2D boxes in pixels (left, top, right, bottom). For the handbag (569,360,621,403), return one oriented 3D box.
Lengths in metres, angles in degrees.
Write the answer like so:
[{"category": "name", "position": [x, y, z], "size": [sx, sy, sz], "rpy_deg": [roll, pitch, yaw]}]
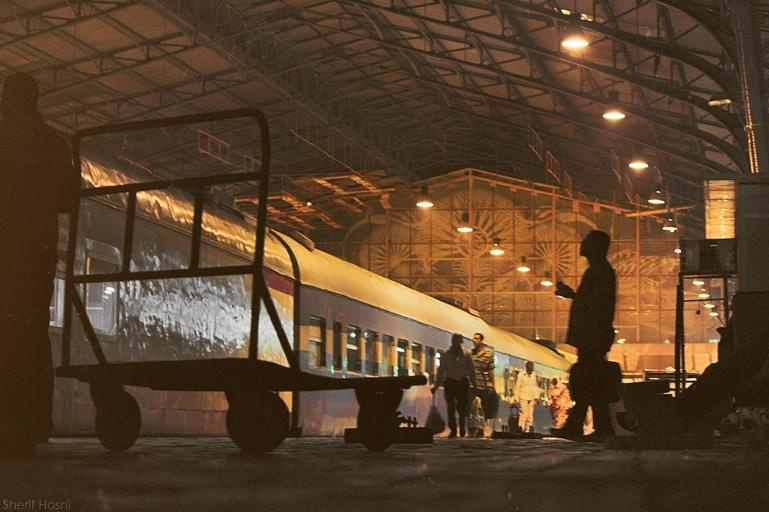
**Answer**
[{"category": "handbag", "position": [3.581, 2.114, 23.828], "size": [0.932, 0.672, 0.186], "rpy_deg": [-1, 18, 4]}]
